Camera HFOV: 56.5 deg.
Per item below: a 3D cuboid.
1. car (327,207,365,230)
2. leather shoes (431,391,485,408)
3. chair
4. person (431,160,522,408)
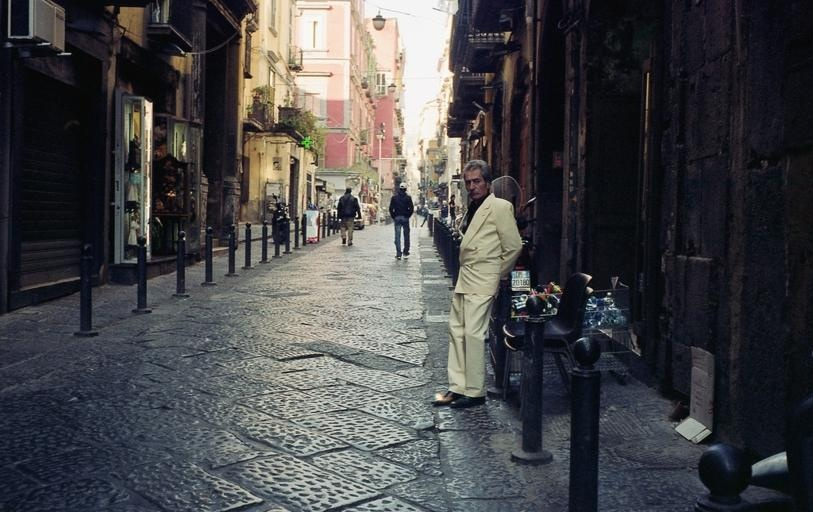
[{"bbox_3d":[-2.479,-1.515,30.499,1.267,1.204,2.240,0,-4,0],"label":"car"},{"bbox_3d":[0.476,1.322,7.047,0.479,0.207,0.182,5,-5,-6],"label":"leather shoes"},{"bbox_3d":[1.419,0.712,7.164,0.973,1.423,0.962,1,1,-3],"label":"chair"},{"bbox_3d":[0.675,0.239,7.067,0.752,2.246,0.641,2,8,11],"label":"person"}]
